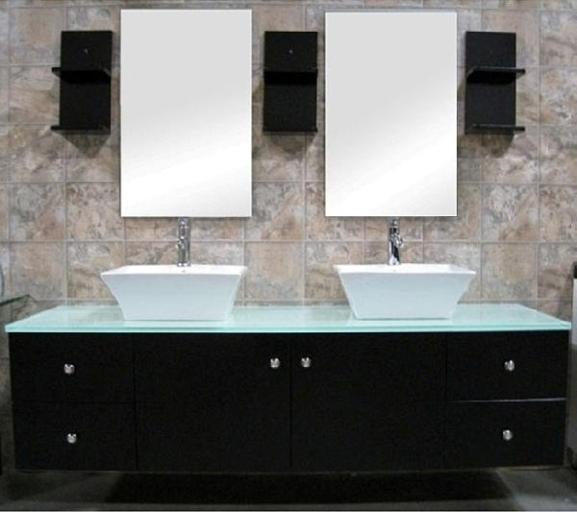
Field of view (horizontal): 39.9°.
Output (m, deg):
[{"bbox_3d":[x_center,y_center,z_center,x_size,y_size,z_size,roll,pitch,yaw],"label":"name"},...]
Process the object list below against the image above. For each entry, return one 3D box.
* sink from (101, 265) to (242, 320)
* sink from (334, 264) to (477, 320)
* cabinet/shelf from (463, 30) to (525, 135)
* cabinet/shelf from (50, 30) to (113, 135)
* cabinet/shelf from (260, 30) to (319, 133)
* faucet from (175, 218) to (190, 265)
[{"bbox_3d":[-0.529,0.190,3.609,0.619,0.227,0.081,0,2,0],"label":"sink"},{"bbox_3d":[0.534,0.183,3.626,0.604,0.226,0.076,0,2,3],"label":"sink"},{"bbox_3d":[1.015,-0.855,3.901,0.261,0.497,0.164,-1,7,-7],"label":"cabinet/shelf"},{"bbox_3d":[-1.016,-0.845,3.884,0.251,0.476,0.162,3,3,-3],"label":"cabinet/shelf"},{"bbox_3d":[0.012,-0.855,3.944,0.274,0.477,0.127,2,7,12],"label":"cabinet/shelf"},{"bbox_3d":[-0.520,-0.066,3.938,0.064,0.236,0.179,0,2,-8],"label":"faucet"}]
